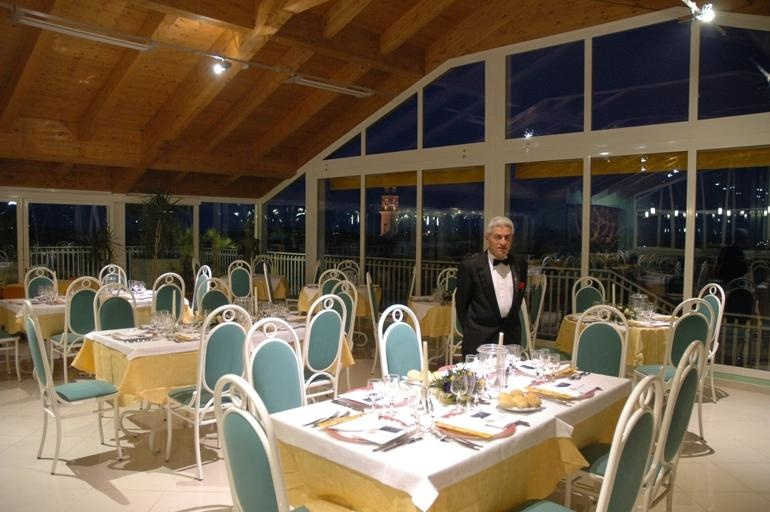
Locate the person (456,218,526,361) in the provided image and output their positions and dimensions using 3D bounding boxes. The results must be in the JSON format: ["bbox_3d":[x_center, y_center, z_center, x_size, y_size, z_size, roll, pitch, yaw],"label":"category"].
[{"bbox_3d":[1.035,0.320,4.879,0.650,1.360,0.475,-4,11,-23],"label":"person"}]

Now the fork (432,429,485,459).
[{"bbox_3d":[0.453,1.152,3.260,0.320,0.049,0.098,10,21,33],"label":"fork"}]

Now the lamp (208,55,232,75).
[{"bbox_3d":[-2.452,-2.847,7.805,0.254,0.300,0.753,-3,10,-18],"label":"lamp"}]

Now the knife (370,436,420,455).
[{"bbox_3d":[0.082,1.149,3.232,0.317,0.017,0.093,-10,18,-31],"label":"knife"}]
